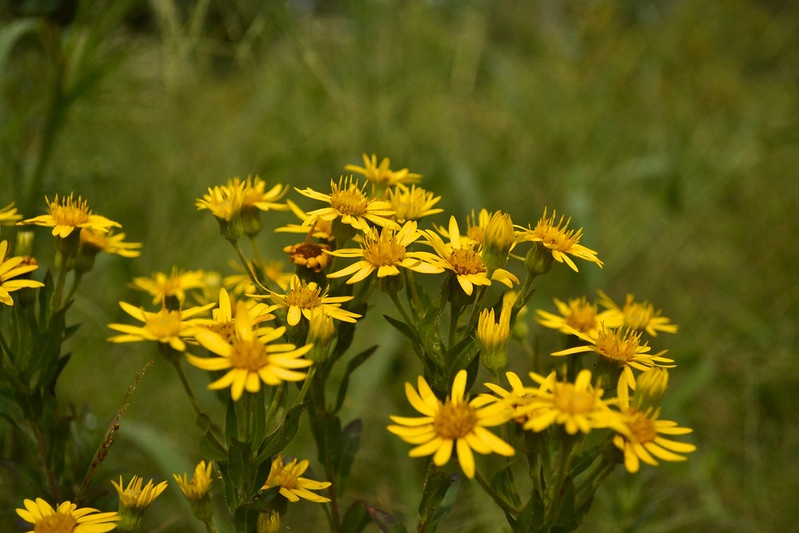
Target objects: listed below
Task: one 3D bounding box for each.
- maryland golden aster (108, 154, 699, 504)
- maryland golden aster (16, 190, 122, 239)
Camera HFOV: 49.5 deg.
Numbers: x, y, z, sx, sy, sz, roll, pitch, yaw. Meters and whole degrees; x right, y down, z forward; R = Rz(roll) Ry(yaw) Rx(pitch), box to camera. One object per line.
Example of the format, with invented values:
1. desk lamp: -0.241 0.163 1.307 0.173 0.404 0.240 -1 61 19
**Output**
1. maryland golden aster: 0.024 0.144 1.573 0.799 0.514 0.749 13 17 12
2. maryland golden aster: -0.638 -0.092 1.676 0.126 0.129 0.060 4 95 -19
